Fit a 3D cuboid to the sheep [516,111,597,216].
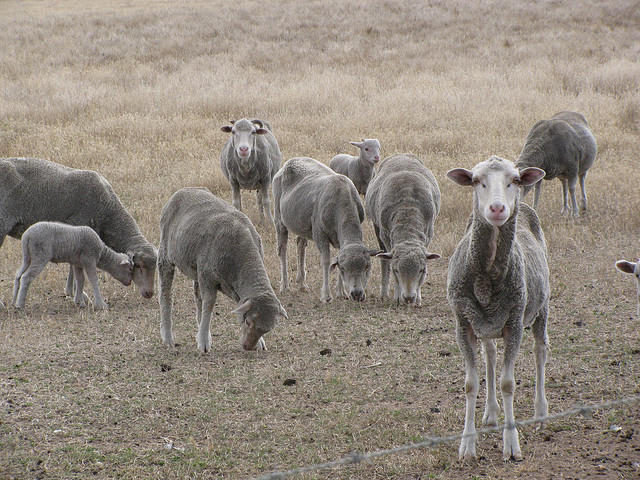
[{"bbox_3d":[6.114,-1.864,30.990,1.622,2.672,4.722,1,10,30],"label":"sheep"}]
